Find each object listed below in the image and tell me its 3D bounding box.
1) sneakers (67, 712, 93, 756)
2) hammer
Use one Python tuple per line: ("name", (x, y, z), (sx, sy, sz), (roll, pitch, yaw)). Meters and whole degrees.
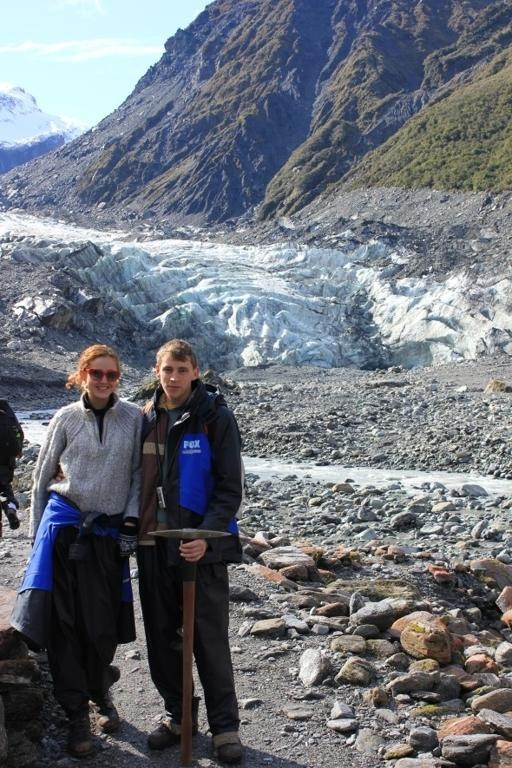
("sneakers", (-0.790, 1.580, 3.366), (0.114, 0.162, 0.165), (2, -2, -12))
("hammer", (-0.299, 1.130, 3.223), (0.330, 1.060, 0.520), (2, -2, -5))
